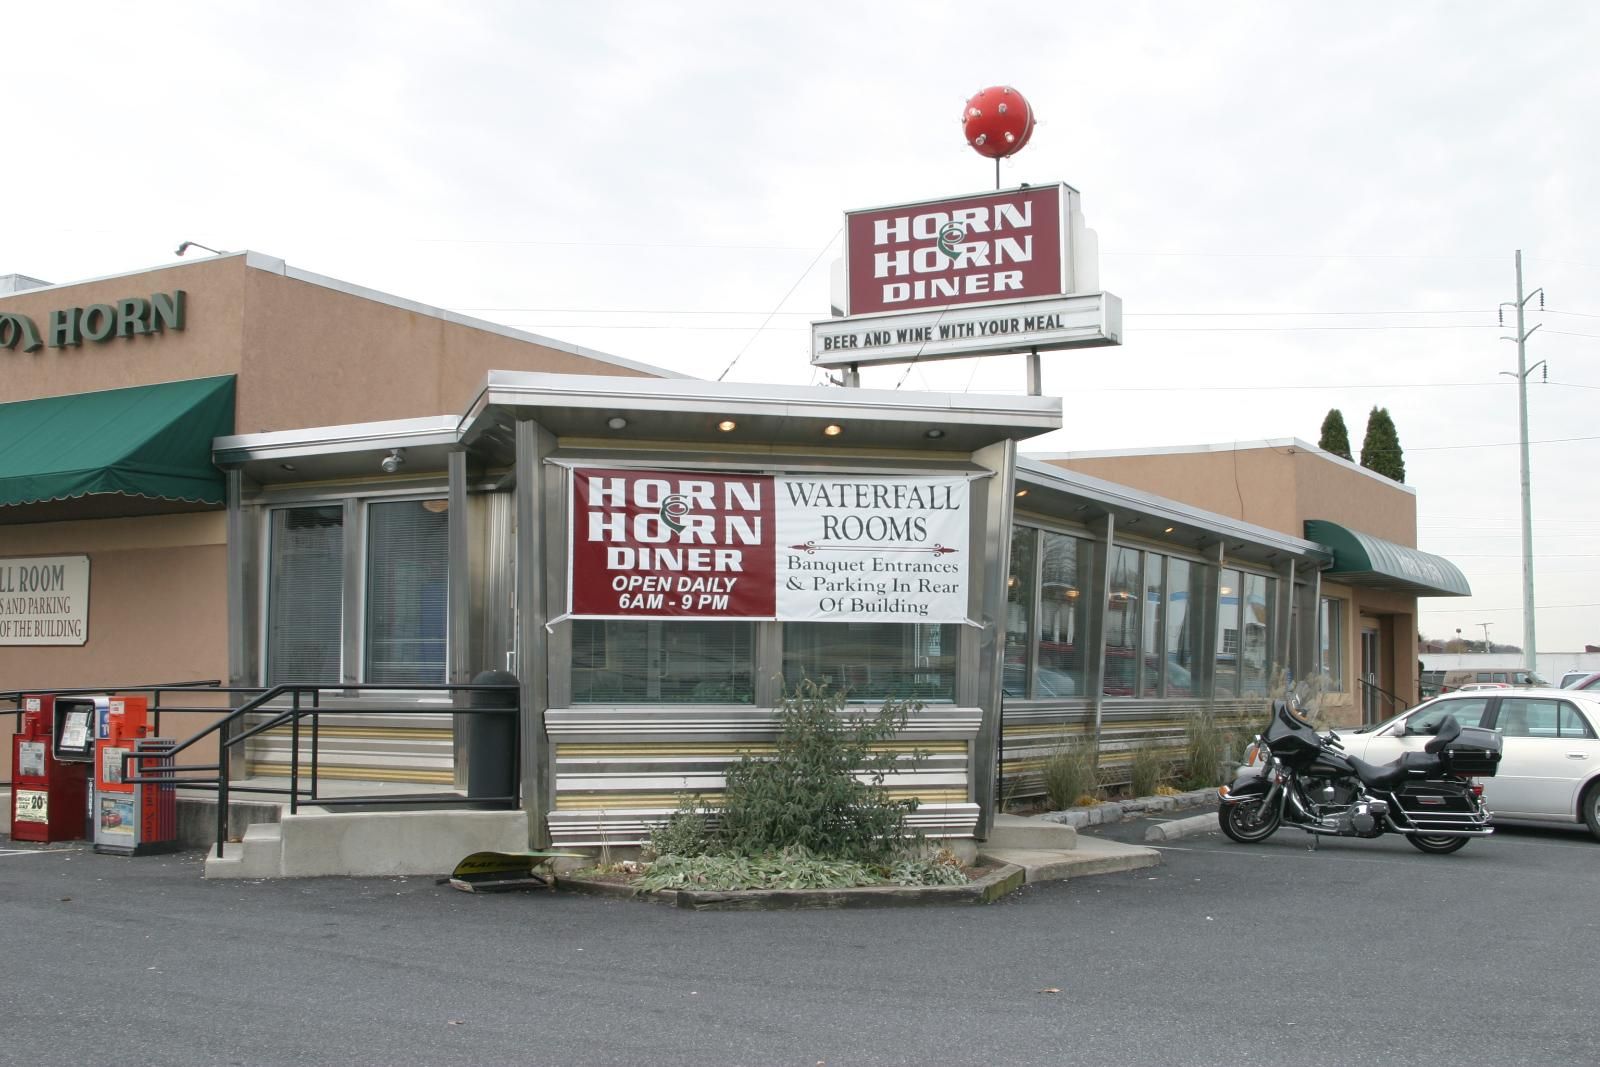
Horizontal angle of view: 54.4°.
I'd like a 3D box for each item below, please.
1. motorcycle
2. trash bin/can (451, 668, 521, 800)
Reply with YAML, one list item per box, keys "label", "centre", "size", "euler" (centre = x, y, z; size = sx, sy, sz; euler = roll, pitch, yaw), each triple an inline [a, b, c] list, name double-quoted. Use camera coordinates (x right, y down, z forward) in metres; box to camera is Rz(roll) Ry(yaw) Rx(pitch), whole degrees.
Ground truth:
- label: "motorcycle"
  centre: [7.164, 3.177, 20.139]
  size: [3.309, 1.795, 1.626]
  euler: [0, -6, 21]
- label: "trash bin/can"
  centre: [-3.503, 2.263, 17.693]
  size: [0.938, 1.461, 0.954]
  euler: [1, 2, 28]
